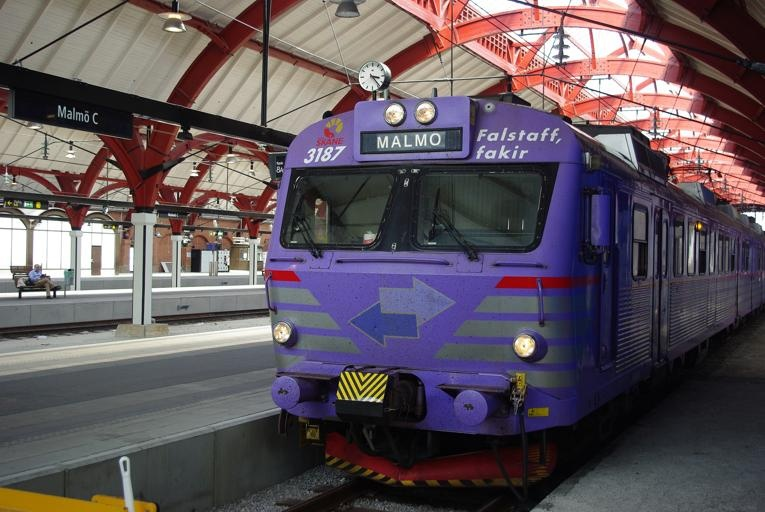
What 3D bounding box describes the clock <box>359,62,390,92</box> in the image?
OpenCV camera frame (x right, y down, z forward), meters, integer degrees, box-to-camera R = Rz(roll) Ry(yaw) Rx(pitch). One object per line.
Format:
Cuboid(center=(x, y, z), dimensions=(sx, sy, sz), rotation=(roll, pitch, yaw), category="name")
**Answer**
Cuboid(center=(-0.115, -2.617, 8.978), dimensions=(0.376, 0.501, 0.834), rotation=(1, 0, -7), category="clock")
